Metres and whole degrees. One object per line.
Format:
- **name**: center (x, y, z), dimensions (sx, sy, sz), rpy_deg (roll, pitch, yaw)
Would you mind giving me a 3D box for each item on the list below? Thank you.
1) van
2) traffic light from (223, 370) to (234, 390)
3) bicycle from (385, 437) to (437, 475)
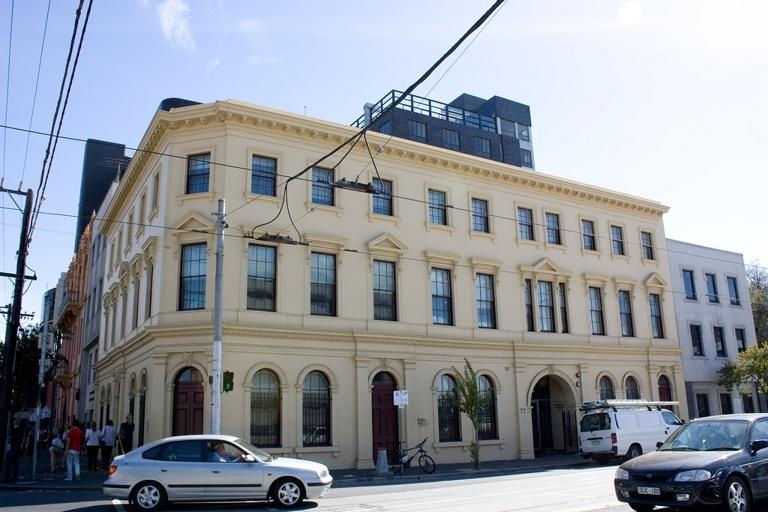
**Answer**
- **van**: center (12.834, 9.049, 31.693), dimensions (5.817, 2.968, 2.568), rpy_deg (3, -15, -25)
- **traffic light**: center (-5.928, 4.712, 23.399), dimensions (0.280, 0.714, 0.521), rpy_deg (6, -20, -23)
- **bicycle**: center (1.225, 9.555, 29.259), dimensions (2.580, 1.561, 1.297), rpy_deg (2, -19, -1)
